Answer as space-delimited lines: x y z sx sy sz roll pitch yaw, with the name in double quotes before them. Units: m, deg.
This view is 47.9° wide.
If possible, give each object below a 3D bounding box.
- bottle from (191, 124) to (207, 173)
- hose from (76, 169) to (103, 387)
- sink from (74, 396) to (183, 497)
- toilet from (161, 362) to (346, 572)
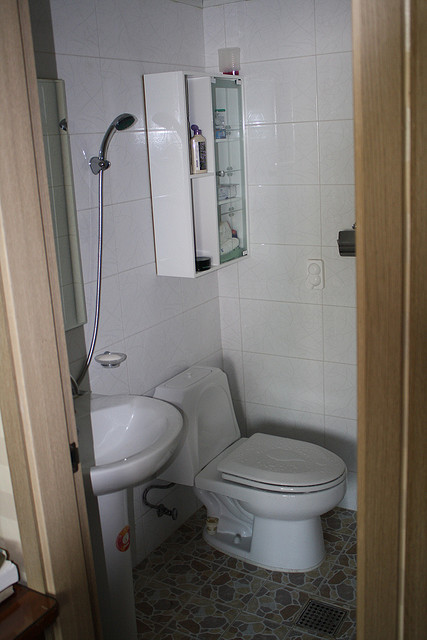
"bottle" -0.054 -0.715 2.066 0.042 0.153 0.110 4 12 32
"hose" -0.417 -0.139 1.649 0.111 0.708 0.059 4 20 -18
"sink" -0.278 0.358 1.517 0.325 0.149 0.275 7 18 19
"toilet" 0.208 0.677 2.236 0.714 0.877 0.471 5 20 25
